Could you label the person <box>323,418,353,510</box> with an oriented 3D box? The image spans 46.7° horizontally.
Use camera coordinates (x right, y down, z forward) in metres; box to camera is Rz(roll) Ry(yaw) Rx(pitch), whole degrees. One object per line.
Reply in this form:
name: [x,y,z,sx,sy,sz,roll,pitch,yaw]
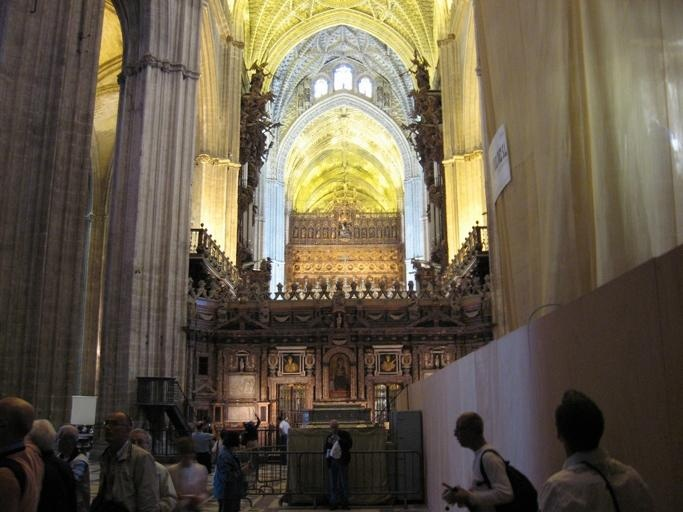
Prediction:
person: [-0.062,3.133,11.810,0.419,1.238,0.890,1,-15,0]
